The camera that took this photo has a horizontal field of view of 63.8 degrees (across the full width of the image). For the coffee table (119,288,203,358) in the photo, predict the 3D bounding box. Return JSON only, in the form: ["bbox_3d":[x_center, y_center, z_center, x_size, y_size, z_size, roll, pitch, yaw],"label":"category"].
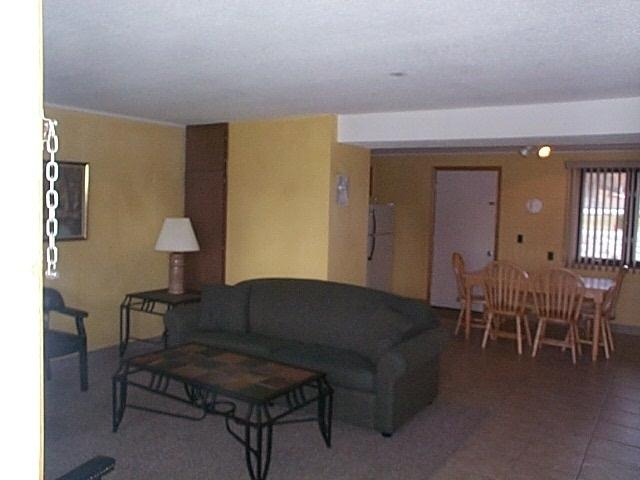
[{"bbox_3d":[-2.022,1.020,5.981,0.792,0.623,0.808,6,-10,-5],"label":"coffee table"}]

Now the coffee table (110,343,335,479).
[{"bbox_3d":[-0.580,1.046,3.744,1.332,0.538,0.814,5,6,37],"label":"coffee table"}]

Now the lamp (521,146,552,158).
[{"bbox_3d":[2.555,-1.039,5.997,0.345,0.139,0.246,2,4,-16],"label":"lamp"}]

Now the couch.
[{"bbox_3d":[-0.207,0.891,4.663,2.489,0.921,0.887,4,9,34],"label":"couch"}]
